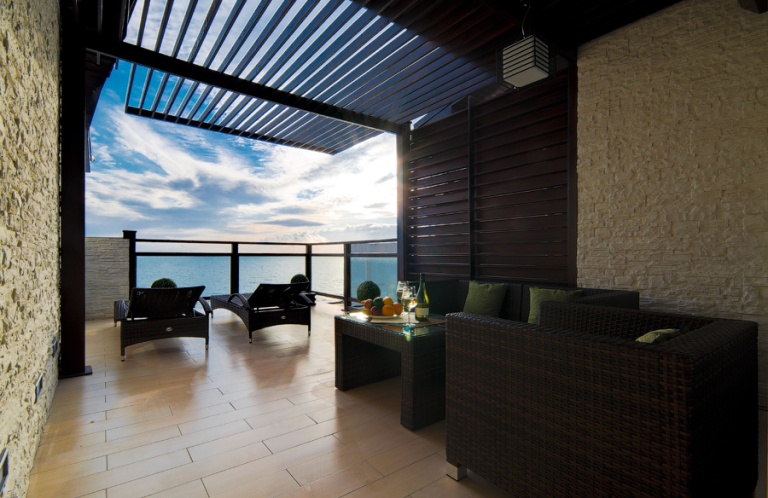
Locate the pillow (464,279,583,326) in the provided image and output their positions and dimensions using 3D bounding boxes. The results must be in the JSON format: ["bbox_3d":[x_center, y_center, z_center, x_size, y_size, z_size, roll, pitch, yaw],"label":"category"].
[{"bbox_3d":[1.250,0.480,4.708,0.801,0.709,0.496,0,0,-12],"label":"pillow"}]

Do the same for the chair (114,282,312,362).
[{"bbox_3d":[-2.058,0.762,5.725,2.010,0.767,0.836,-1,0,-27],"label":"chair"}]

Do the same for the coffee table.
[{"bbox_3d":[0.029,1.010,4.081,0.577,0.664,0.865,-2,0,-30],"label":"coffee table"}]
